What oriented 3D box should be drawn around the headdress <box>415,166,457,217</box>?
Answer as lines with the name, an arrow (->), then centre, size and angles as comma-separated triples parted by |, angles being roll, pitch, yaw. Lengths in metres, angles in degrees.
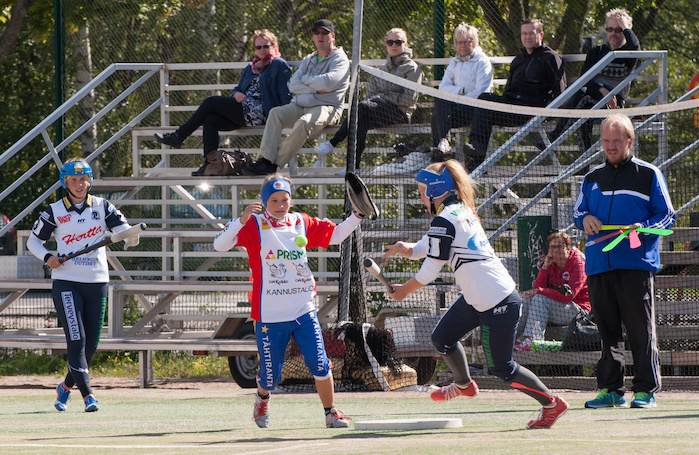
headdress -> 1.030, -0.502, 16.950 | 0.453, 0.491, 0.381 | 3, 0, 14

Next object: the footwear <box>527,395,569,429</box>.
footwear -> 2.319, 2.150, 16.823 | 0.479, 0.334, 0.267 | -2, 0, 3

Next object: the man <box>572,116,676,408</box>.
man -> 3.346, 0.428, 17.839 | 1.447, 3.461, 1.202 | -3, -8, 30

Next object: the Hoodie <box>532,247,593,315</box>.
Hoodie -> 2.960, 0.716, 19.584 | 0.963, 0.865, 0.676 | 3, -17, -15

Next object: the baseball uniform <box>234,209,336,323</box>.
baseball uniform -> -0.789, 0.510, 18.152 | 1.735, 1.482, 0.942 | 2, -12, -20

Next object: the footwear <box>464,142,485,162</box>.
footwear -> 1.813, -1.081, 20.877 | 0.316, 0.110, 0.212 | 21, 28, -31

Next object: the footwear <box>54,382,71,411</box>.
footwear -> -3.714, 2.260, 18.866 | 0.200, 0.415, 0.152 | -20, -26, 33

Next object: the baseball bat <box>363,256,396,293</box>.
baseball bat -> 0.394, 0.648, 19.005 | 0.805, 0.158, 0.152 | 43, -10, -34

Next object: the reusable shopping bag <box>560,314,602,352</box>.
reusable shopping bag -> 3.130, 1.455, 19.344 | 0.511, 0.456, 0.484 | 4, 9, 8

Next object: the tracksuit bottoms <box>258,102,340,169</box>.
tracksuit bottoms -> -0.714, -1.585, 22.066 | 1.366, 0.580, 0.661 | -15, 7, 17

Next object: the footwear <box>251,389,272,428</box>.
footwear -> -1.038, 2.175, 17.292 | 0.177, 0.445, 0.201 | -4, -1, -9

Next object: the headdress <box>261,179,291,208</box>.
headdress -> -0.819, -0.428, 17.310 | 0.335, 0.196, 0.391 | -10, -12, 4

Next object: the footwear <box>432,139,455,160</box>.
footwear -> 1.364, -1.124, 20.873 | 0.283, 0.310, 0.392 | -2, 0, 18

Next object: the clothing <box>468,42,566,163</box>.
clothing -> 2.323, -1.853, 21.367 | 1.570, 1.765, 0.969 | 2, 3, -25

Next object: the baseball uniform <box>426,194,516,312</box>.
baseball uniform -> 1.251, 0.375, 17.114 | 1.484, 1.322, 0.888 | -3, 8, -4

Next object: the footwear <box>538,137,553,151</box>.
footwear -> 2.825, -1.211, 20.938 | 0.219, 0.052, 0.206 | 43, -16, -18

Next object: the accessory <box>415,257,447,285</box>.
accessory -> 0.949, 0.507, 16.822 | 0.340, 0.305, 0.155 | -2, 0, 2

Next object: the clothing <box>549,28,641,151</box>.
clothing -> 3.643, -1.998, 21.227 | 0.867, 2.242, 1.392 | 13, 4, 40

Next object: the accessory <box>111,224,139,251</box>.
accessory -> -2.842, 0.134, 18.735 | 0.174, 0.230, 0.577 | -24, 5, -26

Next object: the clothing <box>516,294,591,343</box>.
clothing -> 2.972, 1.295, 19.764 | 0.822, 0.501, 1.088 | -22, -36, 30

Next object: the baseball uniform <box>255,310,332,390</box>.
baseball uniform -> -0.673, 1.521, 17.668 | 1.120, 1.134, 0.465 | -10, -5, -9

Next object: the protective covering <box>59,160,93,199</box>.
protective covering -> -3.612, -0.662, 19.050 | 0.402, 0.432, 0.478 | -1, -7, -14

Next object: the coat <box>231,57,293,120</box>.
coat -> -1.390, -2.242, 22.322 | 1.121, 0.516, 1.013 | 1, -44, 1

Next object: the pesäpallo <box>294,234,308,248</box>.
pesäpallo -> -0.563, 0.178, 17.175 | 0.152, 0.136, 0.139 | 7, 25, -3

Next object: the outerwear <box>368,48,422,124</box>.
outerwear -> 0.698, -2.181, 21.719 | 0.862, 1.047, 0.679 | 6, -3, 39

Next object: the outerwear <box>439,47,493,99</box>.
outerwear -> 1.841, -2.290, 21.723 | 0.596, 0.790, 0.924 | -8, 13, -41

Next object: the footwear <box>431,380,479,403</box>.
footwear -> 1.265, 1.992, 17.324 | 0.666, 0.239, 0.223 | -2, 10, 2

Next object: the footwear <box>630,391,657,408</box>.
footwear -> 3.667, 2.156, 17.827 | 0.370, 0.155, 0.138 | 9, -12, -43

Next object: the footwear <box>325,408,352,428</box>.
footwear -> -0.121, 2.266, 17.072 | 0.179, 0.142, 0.329 | -4, -4, -35

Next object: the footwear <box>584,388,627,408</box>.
footwear -> 3.196, 2.155, 17.958 | 0.577, 0.221, 0.200 | 1, -5, -5

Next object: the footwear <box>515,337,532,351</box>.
footwear -> 2.354, 1.586, 19.373 | 0.209, 0.144, 0.083 | 1, -32, 1

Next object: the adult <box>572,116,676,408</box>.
adult -> 3.367, 0.424, 17.861 | 1.423, 3.391, 1.135 | -3, -8, 27

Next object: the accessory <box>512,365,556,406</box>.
accessory -> 2.272, 1.960, 17.653 | 0.235, 0.638, 0.298 | -52, 6, -36

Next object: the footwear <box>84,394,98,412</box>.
footwear -> -3.333, 2.275, 18.690 | 0.184, 0.216, 0.325 | -2, 0, -10

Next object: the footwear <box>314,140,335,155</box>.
footwear -> -0.332, -1.194, 21.780 | 0.155, 0.131, 0.369 | -51, -15, 22

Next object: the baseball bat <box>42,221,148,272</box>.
baseball bat -> -3.466, 0.256, 19.589 | 2.012, 0.150, 0.232 | -19, 23, 33
